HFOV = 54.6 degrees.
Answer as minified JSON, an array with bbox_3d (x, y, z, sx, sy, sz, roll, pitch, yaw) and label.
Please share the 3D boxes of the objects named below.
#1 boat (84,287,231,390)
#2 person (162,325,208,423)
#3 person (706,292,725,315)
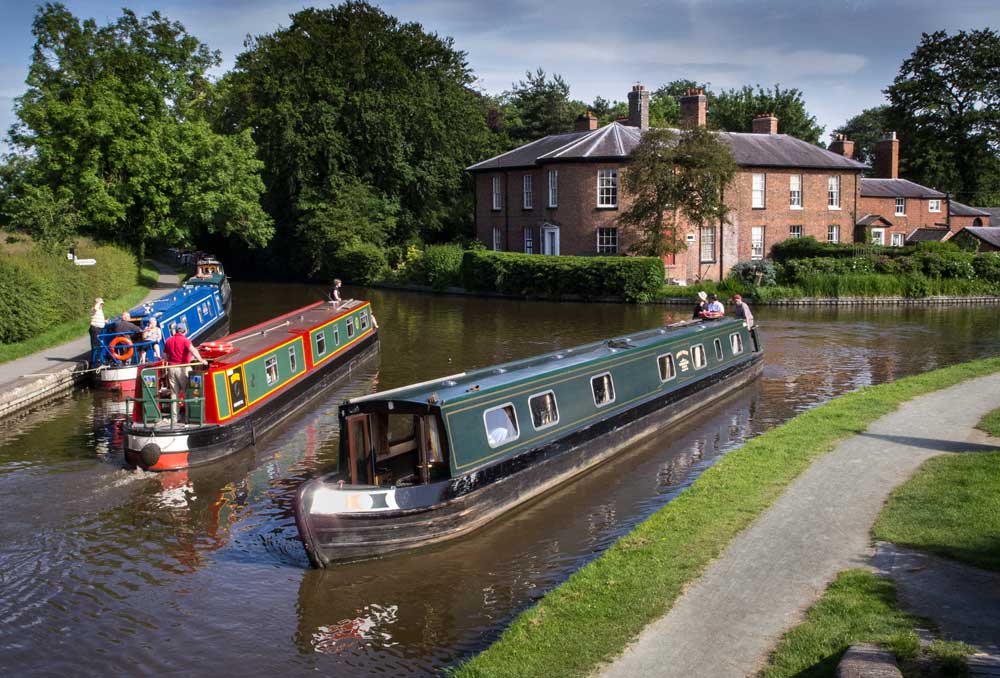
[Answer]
[{"bbox_3d":[-10.123,0.005,28.606,1.294,1.587,6.599,1,23,8],"label":"boat"},{"bbox_3d":[-7.228,0.751,22.178,0.811,2.088,1.022,-5,8,-20],"label":"person"},{"bbox_3d":[6.330,-0.955,28.540,0.408,0.606,1.034,0,7,20],"label":"person"}]
